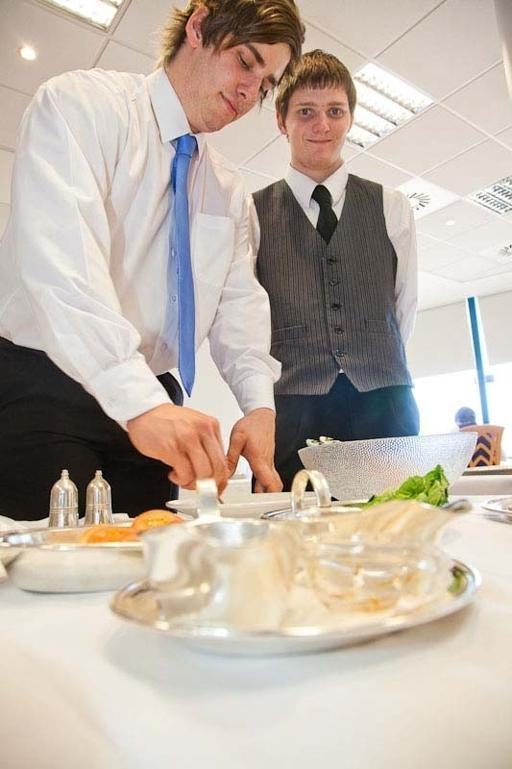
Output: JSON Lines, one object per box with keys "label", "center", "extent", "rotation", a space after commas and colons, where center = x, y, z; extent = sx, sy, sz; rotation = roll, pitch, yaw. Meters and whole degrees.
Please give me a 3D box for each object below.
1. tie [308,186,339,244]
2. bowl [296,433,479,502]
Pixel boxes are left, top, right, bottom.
{"label": "tie", "center": [0.176, -0.437, 1.492], "extent": [0.047, 0.174, 0.025], "rotation": [-4, -13, 2]}
{"label": "bowl", "center": [0.155, 0.089, 0.643], "extent": [0.134, 0.055, 0.134], "rotation": [-4, -10, -1]}
